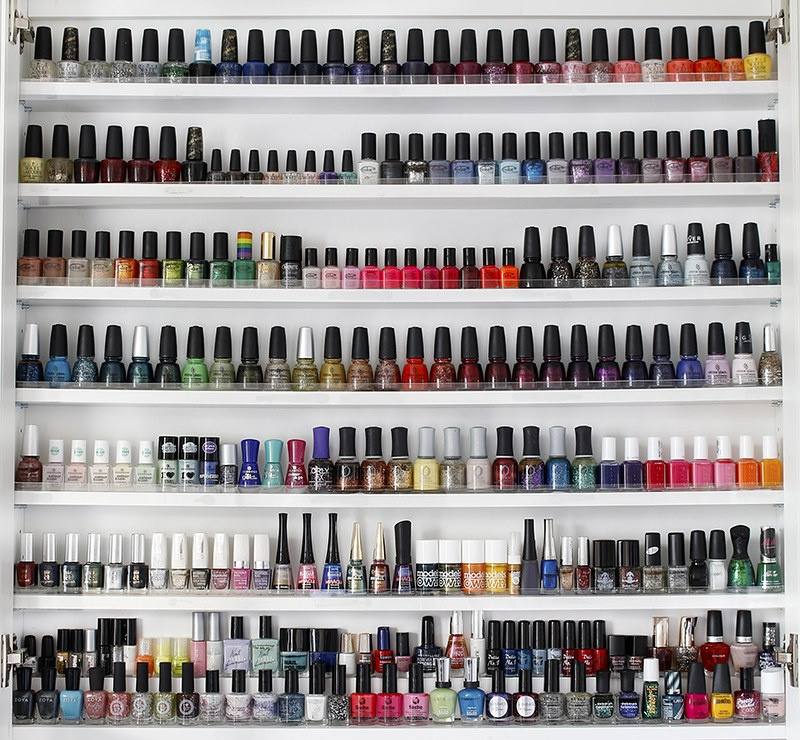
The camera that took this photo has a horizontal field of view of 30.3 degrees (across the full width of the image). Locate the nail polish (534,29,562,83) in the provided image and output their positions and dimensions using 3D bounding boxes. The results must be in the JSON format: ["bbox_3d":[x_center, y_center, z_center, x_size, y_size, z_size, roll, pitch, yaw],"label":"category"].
[{"bbox_3d":[0.403,-0.821,3.908,0.055,0.159,0.061,-5,-12,6],"label":"nail polish"}]

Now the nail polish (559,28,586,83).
[{"bbox_3d":[0.466,-0.818,3.919,0.062,0.187,0.069,-6,-22,19],"label":"nail polish"}]

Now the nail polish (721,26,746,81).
[{"bbox_3d":[0.899,-0.839,3.909,0.068,0.151,0.077,-5,1,-4],"label":"nail polish"}]

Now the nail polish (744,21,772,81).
[{"bbox_3d":[0.953,-0.837,3.907,0.064,0.181,0.067,12,-16,-40],"label":"nail polish"}]

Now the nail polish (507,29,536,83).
[{"bbox_3d":[0.313,-0.830,3.902,0.067,0.144,0.073,12,16,24],"label":"nail polish"}]
